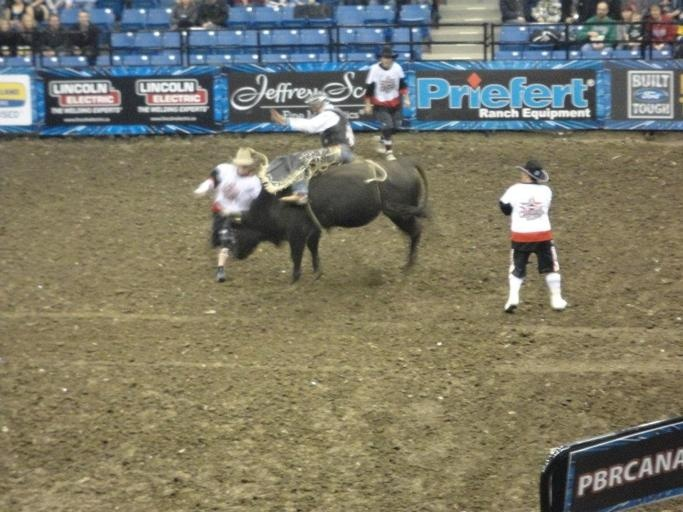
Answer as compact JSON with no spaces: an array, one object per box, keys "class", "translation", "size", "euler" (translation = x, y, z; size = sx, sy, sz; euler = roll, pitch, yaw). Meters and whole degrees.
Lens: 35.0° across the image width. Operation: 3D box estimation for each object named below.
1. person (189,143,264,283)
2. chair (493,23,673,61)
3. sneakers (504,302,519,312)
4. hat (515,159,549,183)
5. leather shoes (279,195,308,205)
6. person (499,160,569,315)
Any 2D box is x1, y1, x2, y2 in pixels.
[{"class":"person","translation":[-1.888,-0.697,18.503],"size":[1.114,2.289,1.040],"euler":[-5,14,-4]},{"class":"chair","translation":[5.991,-5.271,26.695],"size":[4.703,0.931,2.361],"euler":[3,10,24]},{"class":"sneakers","translation":[2.768,0.838,17.431],"size":[0.182,0.119,0.179],"euler":[-3,16,-21]},{"class":"hat","translation":[3.131,-1.349,17.466],"size":[0.365,0.372,0.653],"euler":[-1,10,10]},{"class":"leather shoes","translation":[-0.808,-0.927,17.952],"size":[0.475,0.200,0.273],"euler":[0,11,8]},{"class":"person","translation":[3.064,-0.298,17.348],"size":[0.947,2.434,0.721],"euler":[-3,15,6]}]
